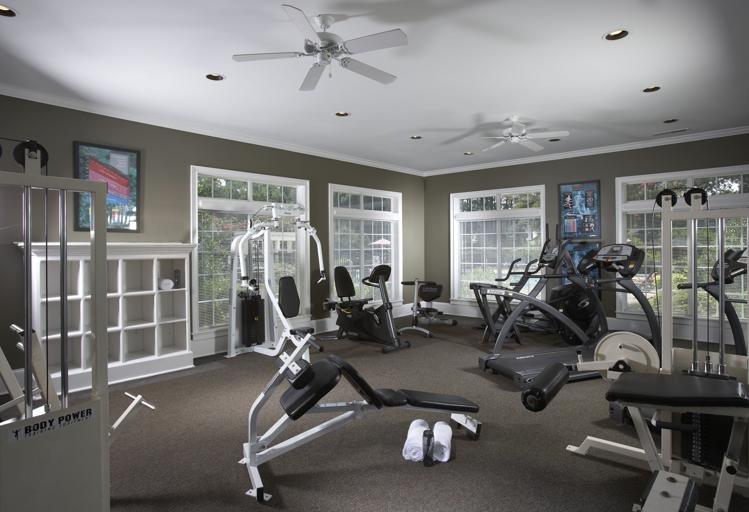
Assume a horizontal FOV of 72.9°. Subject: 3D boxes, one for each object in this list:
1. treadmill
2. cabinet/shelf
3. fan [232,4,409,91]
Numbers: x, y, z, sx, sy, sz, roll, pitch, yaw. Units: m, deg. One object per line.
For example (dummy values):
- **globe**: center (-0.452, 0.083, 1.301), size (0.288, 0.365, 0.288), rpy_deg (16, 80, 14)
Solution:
- **treadmill**: center (2.637, 0.678, 6.367), size (2.631, 1.801, 1.632), rpy_deg (2, -4, -19)
- **cabinet/shelf**: center (-3.104, 0.655, 6.011), size (0.624, 1.645, 1.795), rpy_deg (2, 3, 41)
- **fan**: center (-0.393, -1.793, 4.400), size (1.403, 0.573, 1.124), rpy_deg (9, 17, 34)
